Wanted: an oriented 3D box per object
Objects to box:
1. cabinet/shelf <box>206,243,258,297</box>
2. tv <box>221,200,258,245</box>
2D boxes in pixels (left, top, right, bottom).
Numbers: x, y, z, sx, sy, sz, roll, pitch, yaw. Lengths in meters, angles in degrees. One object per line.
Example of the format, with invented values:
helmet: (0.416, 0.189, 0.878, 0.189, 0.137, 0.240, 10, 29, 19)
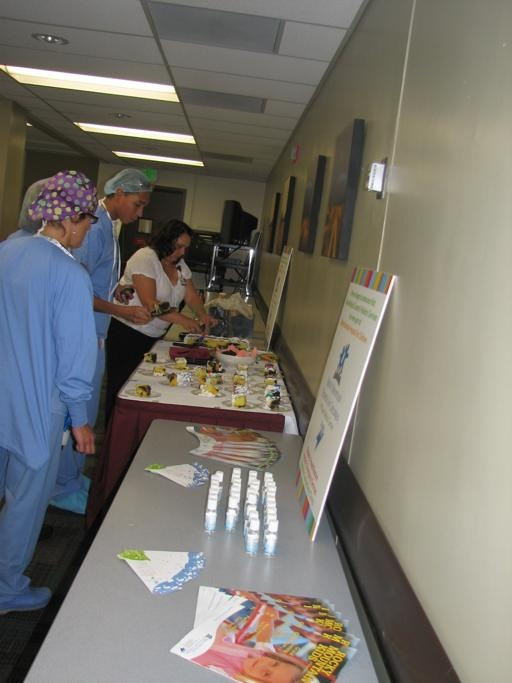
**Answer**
cabinet/shelf: (-0.310, -0.949, 5.804, 0.549, 0.668, 0.407, 5, 12, -4)
tv: (-0.202, -1.569, 6.078, 0.484, 0.605, 0.672, 7, 11, 3)
